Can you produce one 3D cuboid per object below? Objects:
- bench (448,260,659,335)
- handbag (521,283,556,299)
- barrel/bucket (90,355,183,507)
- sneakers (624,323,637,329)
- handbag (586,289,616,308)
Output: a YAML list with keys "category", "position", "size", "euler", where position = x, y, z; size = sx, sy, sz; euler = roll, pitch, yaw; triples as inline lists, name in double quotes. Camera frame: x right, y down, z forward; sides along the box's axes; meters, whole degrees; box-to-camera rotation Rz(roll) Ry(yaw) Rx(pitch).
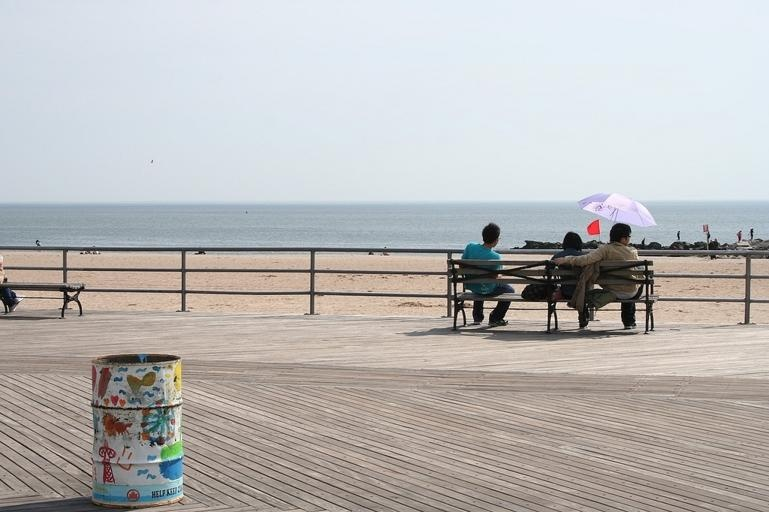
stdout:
- category: "bench"
  position: [2.347, 0.507, 12.320]
  size: [2.800, 0.791, 0.756]
  euler: [0, -11, 18]
- category: "handbag"
  position: [2.127, 0.481, 12.205]
  size: [0.271, 0.102, 0.325]
  euler: [-17, -1, 6]
- category: "barrel/bucket"
  position: [-1.717, 1.185, 6.171]
  size: [0.616, 1.012, 0.349]
  euler: [-2, 8, -15]
- category: "sneakers"
  position: [3.453, 0.961, 12.411]
  size: [0.215, 0.078, 0.069]
  euler: [-2, 3, -40]
- category: "handbag"
  position: [2.927, 0.554, 12.011]
  size: [0.325, 0.116, 0.303]
  euler: [-13, 16, -19]
